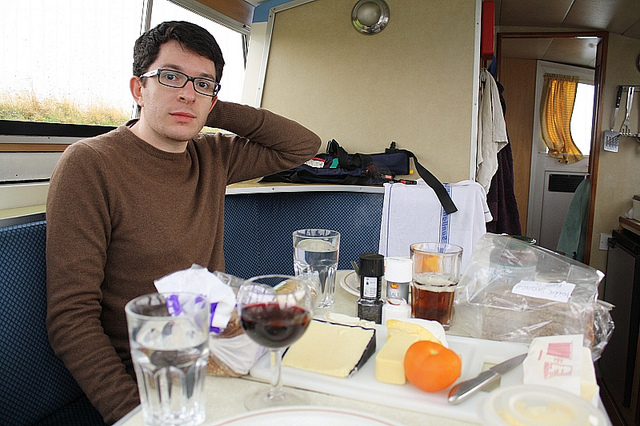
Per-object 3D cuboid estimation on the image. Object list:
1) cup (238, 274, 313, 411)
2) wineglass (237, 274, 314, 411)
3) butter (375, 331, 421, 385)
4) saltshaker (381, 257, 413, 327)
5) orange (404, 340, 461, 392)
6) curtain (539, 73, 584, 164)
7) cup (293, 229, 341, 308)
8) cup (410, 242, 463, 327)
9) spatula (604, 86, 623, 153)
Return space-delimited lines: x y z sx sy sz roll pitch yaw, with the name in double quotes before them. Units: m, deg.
"cup" -0.113 0.338 1.096 0.199 0.324 0.188 0 -3 0
"wineglass" -0.114 0.339 1.100 0.258 0.311 0.261 -1 -2 7
"butter" 0.221 0.407 1.168 0.097 0.114 0.121 0 5 13
"saltshaker" 0.272 0.279 1.515 0.097 0.234 0.107 5 10 15
"orange" 0.291 0.410 1.103 0.131 0.104 0.124 2 7 8
"curtain" 3.395 -1.319 5.859 0.574 1.236 0.180 0 2 3
"cup" -0.010 0.208 1.751 0.180 0.326 0.158 7 5 4
"cup" 0.416 0.276 1.538 0.194 0.299 0.192 6 -6 1
"spatula" 3.026 -0.975 4.299 0.179 0.669 0.078 -3 11 -20
